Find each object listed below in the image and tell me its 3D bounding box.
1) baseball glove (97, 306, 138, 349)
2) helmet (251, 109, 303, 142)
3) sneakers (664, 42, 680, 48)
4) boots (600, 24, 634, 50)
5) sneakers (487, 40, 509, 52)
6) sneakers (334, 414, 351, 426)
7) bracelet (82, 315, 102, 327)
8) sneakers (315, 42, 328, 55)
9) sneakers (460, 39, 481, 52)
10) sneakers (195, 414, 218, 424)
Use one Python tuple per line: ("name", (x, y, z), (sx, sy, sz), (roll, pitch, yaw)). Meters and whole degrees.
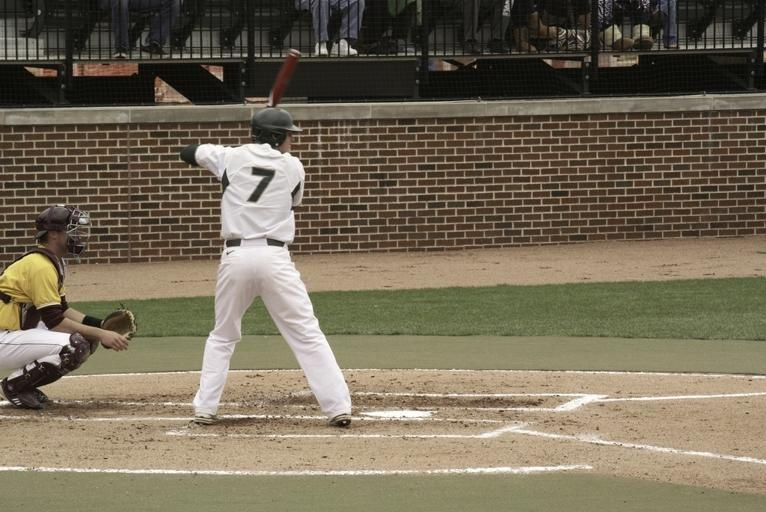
("baseball glove", (-3.631, 1.023, 28.500), (0.634, 0.694, 0.297), (1, 0, 0))
("helmet", (-1.406, -1.786, 27.485), (0.579, 0.352, 0.394), (-7, 13, -8))
("sneakers", (5.171, -3.781, 36.828), (0.224, 0.088, 0.083), (1, 10, 14))
("boots", (4.186, -3.915, 36.848), (0.559, 0.557, 0.360), (-11, 25, 8))
("sneakers", (2.048, -3.739, 36.515), (0.218, 0.176, 0.239), (-1, 11, 2))
("sneakers", (-0.513, 2.196, 27.325), (0.242, 0.119, 0.116), (-1, -16, 26))
("bracelet", (-3.895, 0.894, 27.911), (0.173, 0.062, 0.174), (14, 7, -4))
("sneakers", (-1.052, -3.667, 36.317), (0.237, 0.234, 0.087), (4, 8, -3))
("sneakers", (1.583, -3.732, 36.432), (0.274, 0.267, 0.249), (-1, 8, -13))
("sneakers", (-2.323, 2.187, 27.376), (0.300, 0.115, 0.140), (-3, 5, -20))
